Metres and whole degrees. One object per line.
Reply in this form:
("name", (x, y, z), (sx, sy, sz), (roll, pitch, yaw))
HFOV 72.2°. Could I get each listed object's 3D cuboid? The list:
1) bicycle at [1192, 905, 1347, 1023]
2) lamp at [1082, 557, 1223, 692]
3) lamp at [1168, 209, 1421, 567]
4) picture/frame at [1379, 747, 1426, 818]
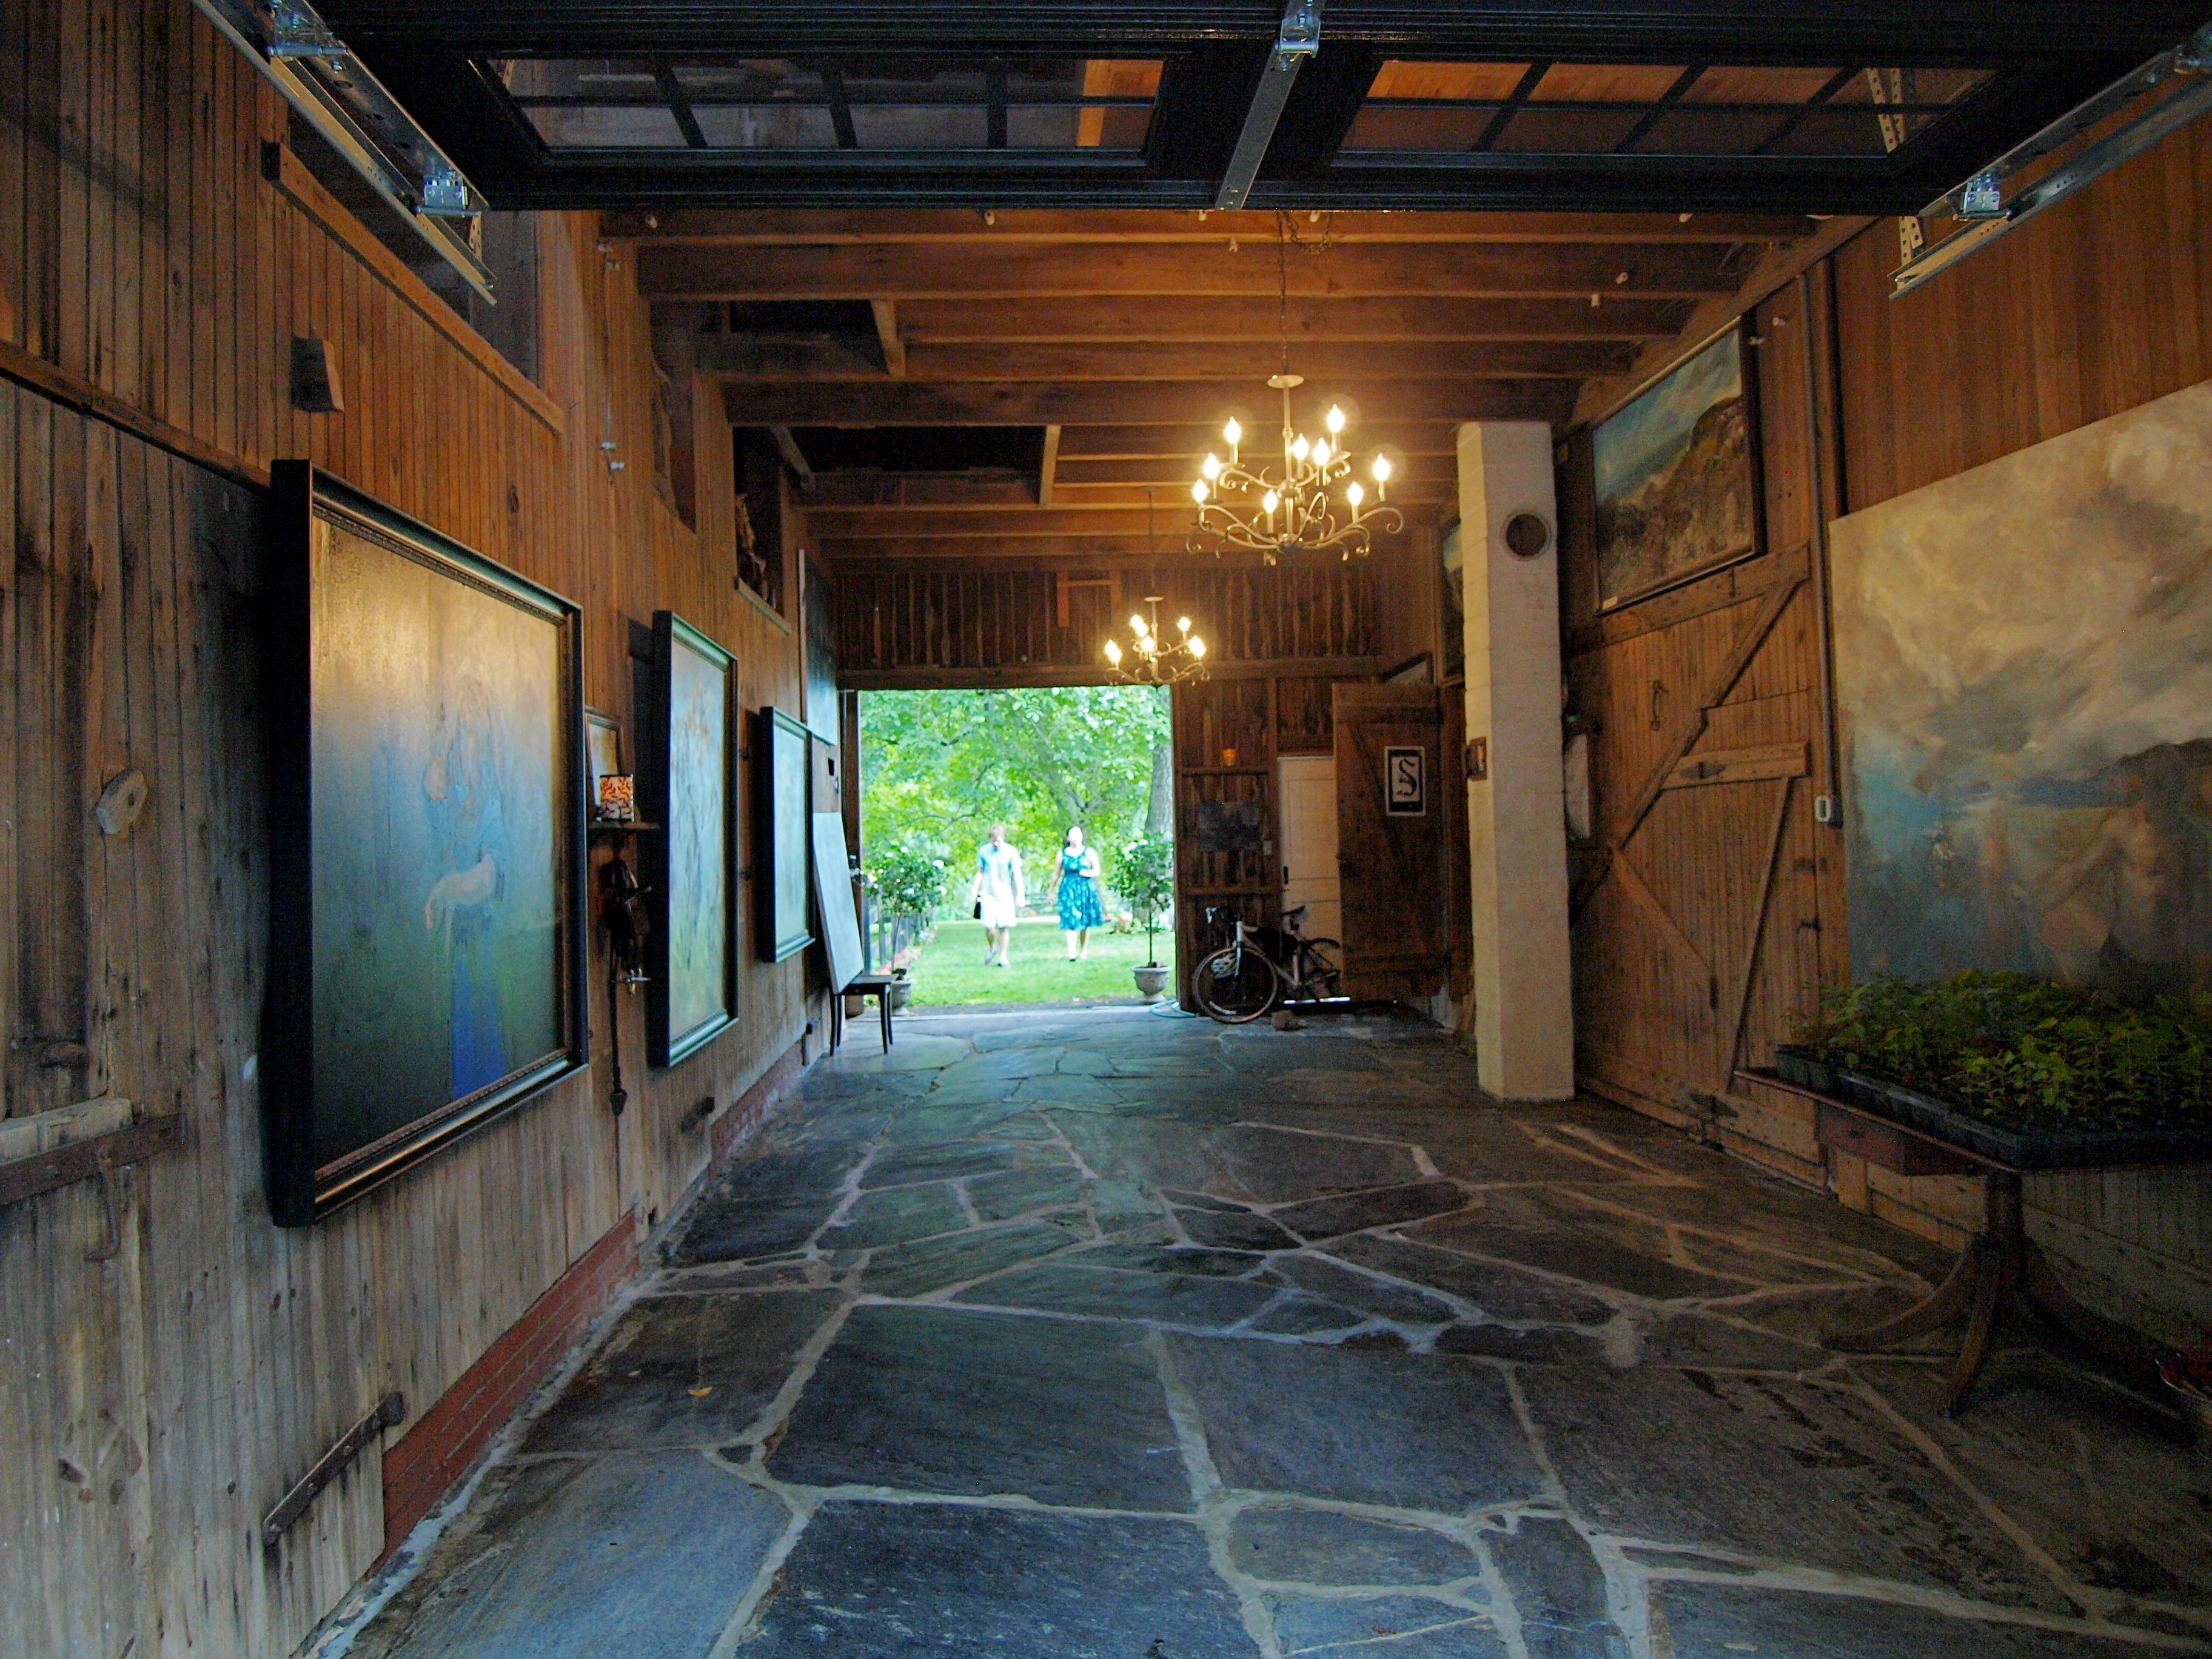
("bicycle", (1.277, 1.154, 12.026), (1.268, 0.783, 0.629), (0, -5, -5))
("lamp", (0.360, -1.623, 12.019), (1.056, 1.318, 0.978), (0, 0, 30))
("lamp", (1.017, -1.965, 8.464), (1.352, 2.619, 1.378), (-1, -2, 28))
("picture/frame", (2.234, -0.346, 11.363), (0.387, 0.559, 0.058), (-4, 7, -24))
